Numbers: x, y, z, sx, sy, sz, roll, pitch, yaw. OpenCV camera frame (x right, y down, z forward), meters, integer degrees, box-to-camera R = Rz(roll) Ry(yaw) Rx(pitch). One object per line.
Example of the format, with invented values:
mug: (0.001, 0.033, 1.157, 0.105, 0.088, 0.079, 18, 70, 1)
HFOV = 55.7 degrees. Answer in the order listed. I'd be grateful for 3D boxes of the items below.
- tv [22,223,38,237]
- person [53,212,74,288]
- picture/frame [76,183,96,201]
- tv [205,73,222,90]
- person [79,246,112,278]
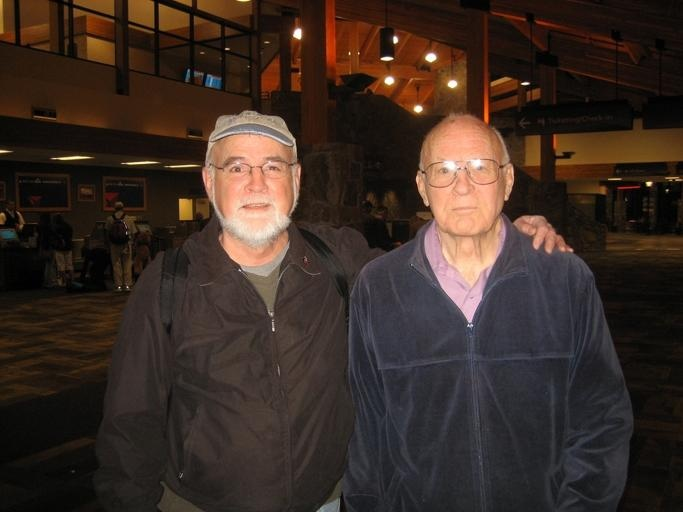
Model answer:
tv: (-6.572, -0.571, 13.675, 0.156, 0.204, 0.297, -1, 5, 9)
person: (-5.348, -0.099, 12.480, 0.356, 1.429, 0.900, -4, 8, -24)
picture/frame: (-6.724, -1.738, 17.020, 0.048, 0.451, 0.486, 2, 3, 34)
tv: (-3.995, -5.539, 20.181, 0.488, 0.509, 0.829, -2, 8, -13)
person: (-4.856, 0.086, 12.852, 0.614, 0.904, 0.481, 2, 2, 5)
